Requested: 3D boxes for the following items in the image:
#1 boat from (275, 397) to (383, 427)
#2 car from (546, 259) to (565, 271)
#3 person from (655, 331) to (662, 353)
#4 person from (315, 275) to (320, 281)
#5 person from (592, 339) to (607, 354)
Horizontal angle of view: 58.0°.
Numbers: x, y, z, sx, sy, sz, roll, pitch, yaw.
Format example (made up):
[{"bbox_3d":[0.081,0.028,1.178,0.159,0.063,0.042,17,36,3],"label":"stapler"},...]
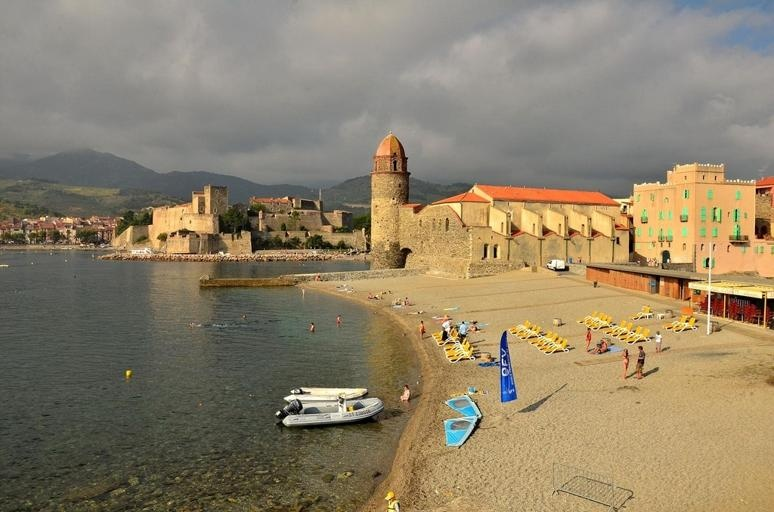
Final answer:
[{"bbox_3d":[-3.517,10.344,45.808,5.369,1.722,2.573,-5,5,-3],"label":"boat"},{"bbox_3d":[20.847,1.182,86.524,1.169,0.908,1.987,-2,11,-13],"label":"car"},{"bbox_3d":[20.033,6.269,51.665,0.426,1.511,2.520,0,-2,22],"label":"person"},{"bbox_3d":[-9.811,3.069,99.067,0.742,0.857,1.291,1,-2,-6],"label":"person"},{"bbox_3d":[15.947,6.771,52.019,1.144,0.464,0.866,-14,6,-4],"label":"person"}]
